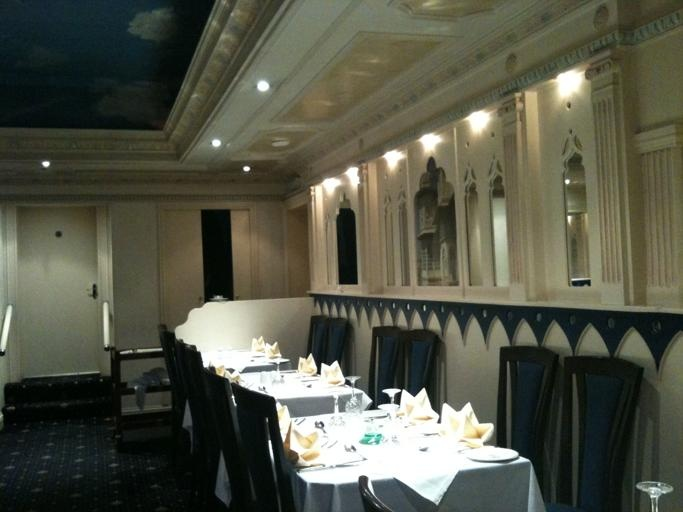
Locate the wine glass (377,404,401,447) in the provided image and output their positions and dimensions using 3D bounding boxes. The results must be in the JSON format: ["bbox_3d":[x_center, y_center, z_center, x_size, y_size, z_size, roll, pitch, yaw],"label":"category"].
[{"bbox_3d":[0.336,1.176,4.173,0.159,0.276,0.174,-1,-4,8],"label":"wine glass"}]

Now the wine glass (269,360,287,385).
[{"bbox_3d":[-0.709,1.277,6.656,0.196,0.226,0.207,2,-8,-11],"label":"wine glass"}]
